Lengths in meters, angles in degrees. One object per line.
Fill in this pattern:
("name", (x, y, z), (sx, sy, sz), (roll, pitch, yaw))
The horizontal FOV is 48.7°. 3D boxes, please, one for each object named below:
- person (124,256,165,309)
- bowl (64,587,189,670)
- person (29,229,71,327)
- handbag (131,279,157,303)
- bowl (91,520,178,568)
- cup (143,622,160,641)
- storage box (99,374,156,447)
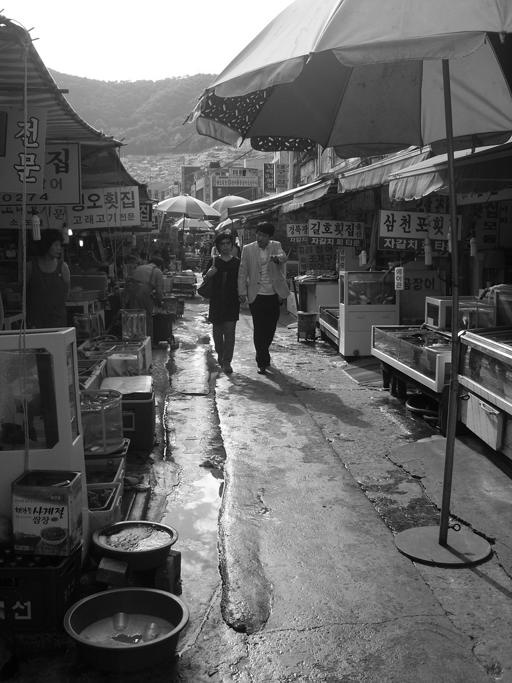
("person", (-1.933, -0.967, 9.410), (0.550, 1.268, 0.486), (9, 40, -17))
("bowl", (-0.478, 1.064, 2.082), (0.431, 0.156, 0.383), (-1, 5, -18))
("person", (-2.380, -0.704, 6.445), (0.447, 1.125, 0.519), (-1, 5, -21))
("handbag", (-1.852, -0.830, 9.278), (0.422, 0.352, 0.588), (3, 20, -12))
("bowl", (-0.547, 0.914, 2.532), (0.374, 0.109, 0.333), (4, 6, 28))
("cup", (-0.385, 1.065, 2.071), (0.042, 0.041, 0.045), (10, 44, -10))
("storage box", (-1.048, 0.592, 4.866), (0.477, 0.503, 0.787), (0, 3, -4))
